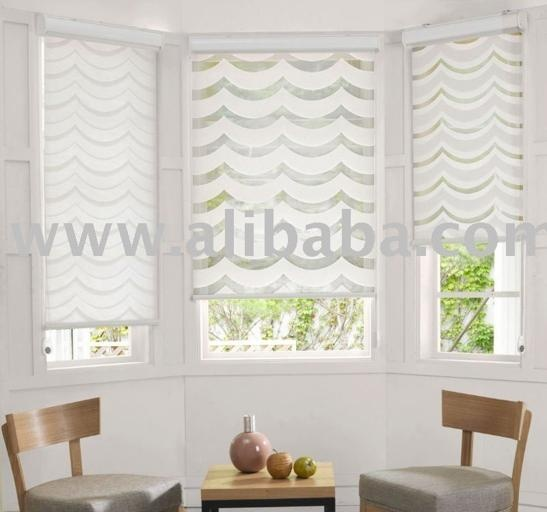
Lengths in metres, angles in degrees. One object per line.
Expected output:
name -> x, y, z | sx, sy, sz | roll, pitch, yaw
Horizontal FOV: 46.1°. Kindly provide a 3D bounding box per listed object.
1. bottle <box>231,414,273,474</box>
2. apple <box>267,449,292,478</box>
bottle -> -0.083, 0.877, 3.078 | 0.208, 0.313, 0.226 | -1, -2, 0
apple -> 0.026, 0.932, 2.894 | 0.097, 0.138, 0.106 | 2, -5, -8
